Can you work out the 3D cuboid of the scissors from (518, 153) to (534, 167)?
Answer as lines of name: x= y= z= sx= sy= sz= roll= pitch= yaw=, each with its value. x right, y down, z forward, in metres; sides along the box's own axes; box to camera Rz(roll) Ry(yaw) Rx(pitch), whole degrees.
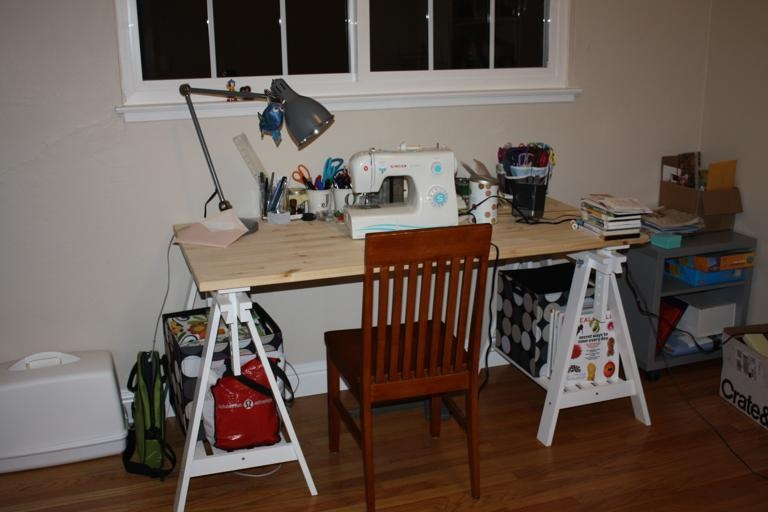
scissors: x=0.773 y=-0.523 z=3.236 sx=0.087 sy=0.078 sz=0.054 roll=-4 pitch=22 yaw=4

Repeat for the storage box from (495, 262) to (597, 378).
storage box: x=0.852 y=0.292 z=3.633 sx=0.547 sy=0.677 sz=0.682 roll=-4 pitch=15 yaw=-19

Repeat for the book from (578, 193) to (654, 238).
book: x=1.121 y=-0.256 z=3.054 sx=0.347 sy=0.214 sz=0.332 roll=-4 pitch=19 yaw=-19

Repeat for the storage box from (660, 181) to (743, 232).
storage box: x=1.994 y=-0.309 z=3.740 sx=0.480 sy=0.312 sz=0.223 roll=3 pitch=19 yaw=25

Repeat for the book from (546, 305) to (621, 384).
book: x=1.085 y=0.465 z=3.177 sx=0.409 sy=0.451 sz=0.171 roll=-3 pitch=11 yaw=-10

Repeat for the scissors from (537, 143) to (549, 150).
scissors: x=0.871 y=-0.597 z=3.244 sx=0.064 sy=0.021 sz=0.094 roll=-2 pitch=18 yaw=10

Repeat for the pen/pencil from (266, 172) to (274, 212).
pen/pencil: x=-0.601 y=-0.342 z=3.175 sx=0.029 sy=0.214 sz=0.022 roll=6 pitch=-14 yaw=2

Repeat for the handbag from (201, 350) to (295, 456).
handbag: x=-0.663 y=0.698 z=2.808 sx=0.480 sy=0.487 sz=0.249 roll=-4 pitch=11 yaw=-25

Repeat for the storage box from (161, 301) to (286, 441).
storage box: x=-0.838 y=0.554 z=3.080 sx=0.579 sy=0.711 sz=0.461 roll=-6 pitch=22 yaw=-13

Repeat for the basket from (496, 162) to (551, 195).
basket: x=0.768 y=-0.426 z=3.285 sx=0.292 sy=0.175 sz=0.132 roll=2 pitch=18 yaw=21

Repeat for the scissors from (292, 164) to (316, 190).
scissors: x=-0.443 y=-0.437 z=3.271 sx=0.093 sy=0.171 sz=0.017 roll=-36 pitch=-9 yaw=-21

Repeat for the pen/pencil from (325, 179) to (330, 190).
pen/pencil: x=-0.305 y=-0.385 z=3.218 sx=0.019 sy=0.058 sz=0.024 roll=4 pitch=3 yaw=-11

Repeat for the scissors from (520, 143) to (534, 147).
scissors: x=0.809 y=-0.627 z=3.358 sx=0.067 sy=0.015 sz=0.043 roll=-2 pitch=23 yaw=-4

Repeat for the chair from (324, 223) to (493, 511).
chair: x=0.164 y=0.511 z=2.896 sx=0.570 sy=1.384 sz=0.760 roll=-4 pitch=11 yaw=-20
